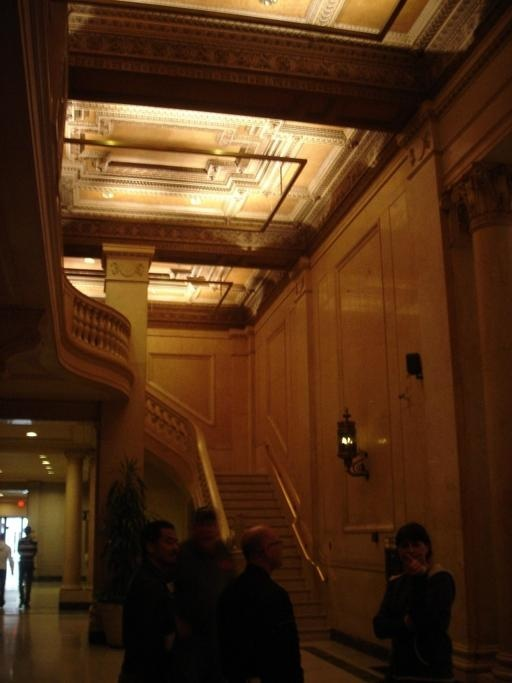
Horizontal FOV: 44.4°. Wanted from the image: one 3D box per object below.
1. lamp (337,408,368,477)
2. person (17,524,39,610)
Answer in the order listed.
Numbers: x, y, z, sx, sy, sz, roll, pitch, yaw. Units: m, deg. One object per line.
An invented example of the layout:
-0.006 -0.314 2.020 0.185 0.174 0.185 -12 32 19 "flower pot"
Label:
1.220 1.331 8.165 0.376 0.897 0.467 1 -12 -19 "lamp"
-4.900 4.774 13.414 0.363 1.649 1.685 2 -13 -20 "person"
